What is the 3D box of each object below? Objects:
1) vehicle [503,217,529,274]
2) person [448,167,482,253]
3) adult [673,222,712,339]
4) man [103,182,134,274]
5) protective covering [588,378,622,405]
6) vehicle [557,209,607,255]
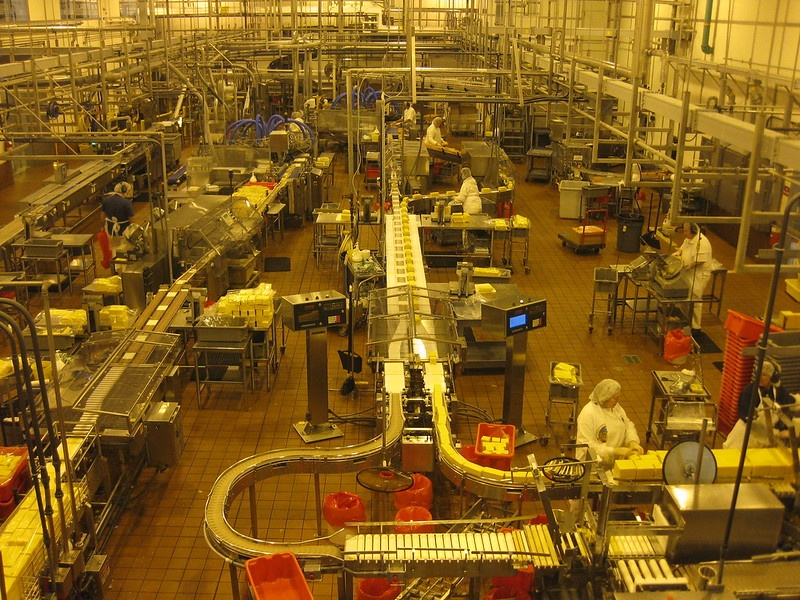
[{"bbox_3d":[2.234,-1.200,13.093,0.504,0.972,1.584,2,23,10],"label":"vehicle"},{"bbox_3d":[1.284,-1.762,13.200,0.547,1.541,0.556,-4,23,5],"label":"person"},{"bbox_3d":[4.349,-0.301,10.242,0.530,1.751,0.983,8,24,24],"label":"adult"},{"bbox_3d":[-4.565,-1.161,11.239,0.510,1.349,1.361,-10,24,-20],"label":"man"},{"bbox_3d":[2.026,0.902,6.786,0.259,0.223,0.234,7,24,28],"label":"protective covering"},{"bbox_3d":[3.781,-1.373,14.187,0.615,0.877,0.973,-4,29,-7],"label":"vehicle"}]
